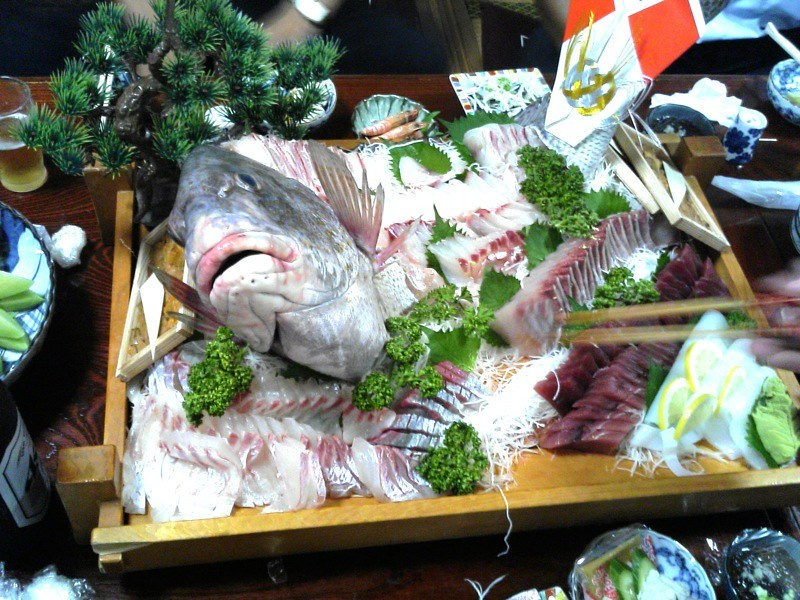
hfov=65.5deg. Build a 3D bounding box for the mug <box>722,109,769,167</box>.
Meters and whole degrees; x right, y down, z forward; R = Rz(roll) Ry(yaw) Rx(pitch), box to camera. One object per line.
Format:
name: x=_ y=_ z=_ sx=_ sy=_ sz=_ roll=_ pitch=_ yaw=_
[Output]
mug: x=1.660 y=-0.786 z=2.997 sx=0.153 sy=0.241 sz=0.184 roll=5 pitch=47 yaw=19
